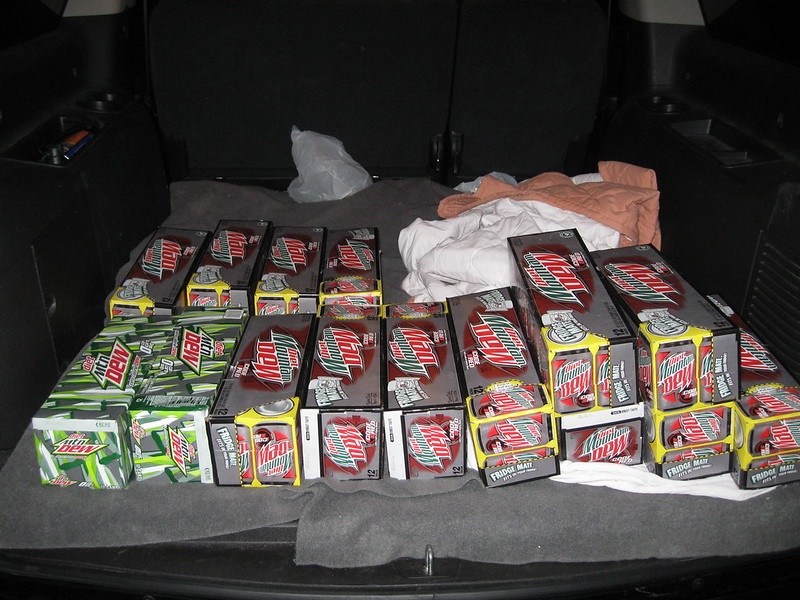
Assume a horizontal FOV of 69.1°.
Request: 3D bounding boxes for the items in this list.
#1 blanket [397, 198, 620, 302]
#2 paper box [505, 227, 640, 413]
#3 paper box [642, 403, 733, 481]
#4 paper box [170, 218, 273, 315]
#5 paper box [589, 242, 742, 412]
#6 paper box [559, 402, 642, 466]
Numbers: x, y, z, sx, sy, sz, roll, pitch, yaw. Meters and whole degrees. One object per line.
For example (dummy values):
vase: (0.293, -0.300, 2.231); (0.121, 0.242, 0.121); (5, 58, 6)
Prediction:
blanket: (0.303, -0.093, 1.769); (0.501, 0.149, 0.333); (-14, 43, 5)
paper box: (0.403, 0.022, 1.393); (0.207, 0.158, 0.515); (-8, 31, 9)
paper box: (0.607, 0.300, 1.245); (0.187, 0.157, 0.103); (-6, 9, -15)
paper box: (-0.475, -0.071, 1.699); (0.232, 0.105, 0.470); (3, 41, 2)
paper box: (0.603, 0.039, 1.386); (0.208, 0.179, 0.421); (-10, 31, 4)
paper box: (0.423, 0.274, 1.301); (0.234, 0.122, 0.145); (0, 4, -1)
